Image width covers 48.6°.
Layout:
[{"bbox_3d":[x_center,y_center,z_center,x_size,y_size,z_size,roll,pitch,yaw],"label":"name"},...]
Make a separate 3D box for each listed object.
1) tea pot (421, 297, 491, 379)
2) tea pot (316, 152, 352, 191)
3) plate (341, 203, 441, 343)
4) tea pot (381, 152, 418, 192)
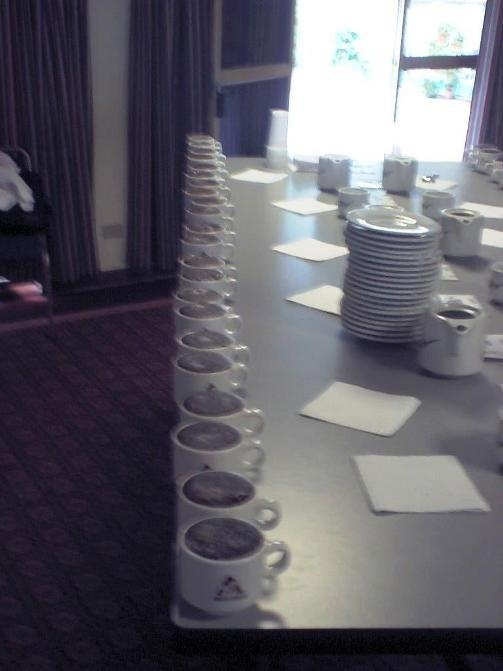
[{"bbox_3d":[0.382,0.001,1.066,0.104,0.102,0.154,1,27,11],"label":"tea pot"},{"bbox_3d":[0.353,-0.699,2.370,0.140,0.156,0.171,7,24,13],"label":"tea pot"},{"bbox_3d":[0.267,-0.155,1.214,0.241,0.266,0.243,19,29,31],"label":"plate"},{"bbox_3d":[0.588,-0.685,2.341,0.130,0.158,0.160,-5,32,-7],"label":"tea pot"}]
